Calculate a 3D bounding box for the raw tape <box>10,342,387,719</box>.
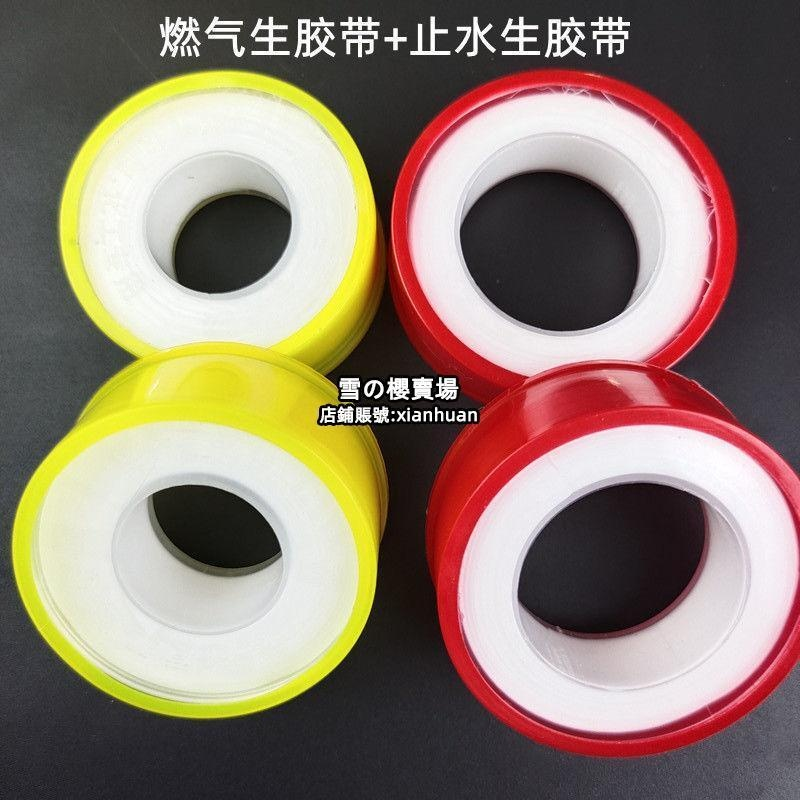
[{"bbox_3d":[-0.287,0.152,1.295,0.497,0.631,0.260,-9,43,17],"label":"raw tape"}]
